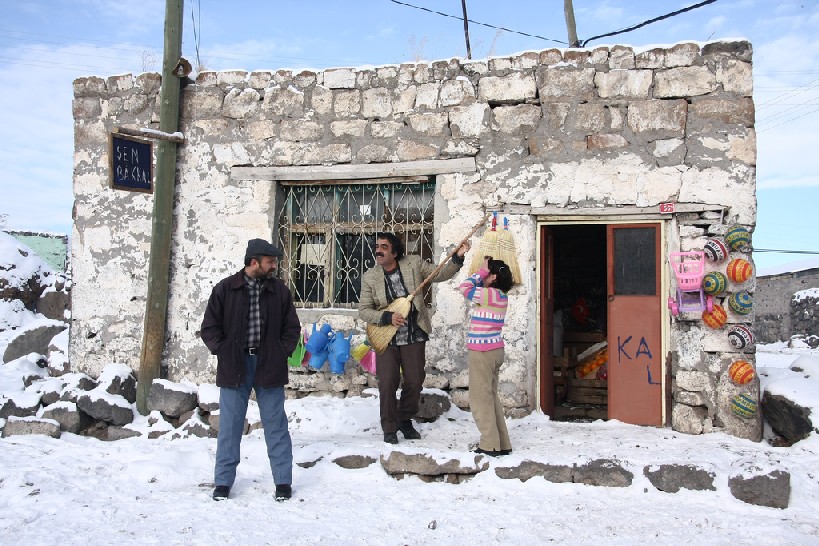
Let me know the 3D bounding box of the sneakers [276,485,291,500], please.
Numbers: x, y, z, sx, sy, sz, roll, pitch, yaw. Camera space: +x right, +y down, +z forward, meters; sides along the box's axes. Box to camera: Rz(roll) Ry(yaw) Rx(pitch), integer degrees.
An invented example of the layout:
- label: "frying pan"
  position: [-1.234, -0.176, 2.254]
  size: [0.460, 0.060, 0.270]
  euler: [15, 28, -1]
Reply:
- label: "sneakers"
  position: [-1.214, 2.113, 7.456]
  size: [0.162, 0.095, 0.106]
  euler: [1, 0, -11]

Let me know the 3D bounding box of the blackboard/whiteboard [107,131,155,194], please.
- label: "blackboard/whiteboard"
  position: [-3.412, -1.372, 9.445]
  size: [0.123, 0.893, 0.732]
  euler: [1, 0, 43]

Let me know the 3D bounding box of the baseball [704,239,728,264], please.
- label: "baseball"
  position: [3.487, -0.253, 8.708]
  size: [0.167, 0.188, 0.161]
  euler: [-22, -16, -17]

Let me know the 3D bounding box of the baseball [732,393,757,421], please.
- label: "baseball"
  position: [3.709, 1.462, 8.495]
  size: [0.260, 0.199, 0.251]
  euler: [7, -11, -2]

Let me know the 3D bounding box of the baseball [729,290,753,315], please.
- label: "baseball"
  position: [3.748, 0.335, 8.659]
  size: [0.272, 0.272, 0.148]
  euler: [0, 0, 6]

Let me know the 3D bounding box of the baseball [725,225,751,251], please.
- label: "baseball"
  position: [3.722, -0.398, 8.652]
  size: [0.272, 0.210, 0.268]
  euler: [0, 5, 5]

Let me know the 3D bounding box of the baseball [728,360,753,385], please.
- label: "baseball"
  position: [3.711, 1.087, 8.552]
  size: [0.208, 0.223, 0.274]
  euler: [-6, 2, -13]

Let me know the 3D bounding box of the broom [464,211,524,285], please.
- label: "broom"
  position: [0.984, -0.228, 8.662]
  size: [0.802, 1.006, 0.692]
  euler: [3, -14, 4]

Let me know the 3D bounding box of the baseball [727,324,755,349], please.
- label: "baseball"
  position: [3.727, 0.718, 8.640]
  size: [0.257, 0.259, 0.125]
  euler: [0, 0, 12]

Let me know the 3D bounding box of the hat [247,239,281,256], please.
- label: "hat"
  position: [-1.426, -0.251, 7.520]
  size: [0.236, 0.131, 0.175]
  euler: [-4, 2, -5]

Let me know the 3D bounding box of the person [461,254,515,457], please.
- label: "person"
  position: [0.813, 0.857, 8.043]
  size: [0.552, 2.034, 0.297]
  euler: [0, 0, -3]

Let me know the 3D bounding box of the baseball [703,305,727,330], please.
- label: "baseball"
  position: [3.454, 0.482, 8.666]
  size: [0.159, 0.192, 0.158]
  euler: [-29, -5, -42]
